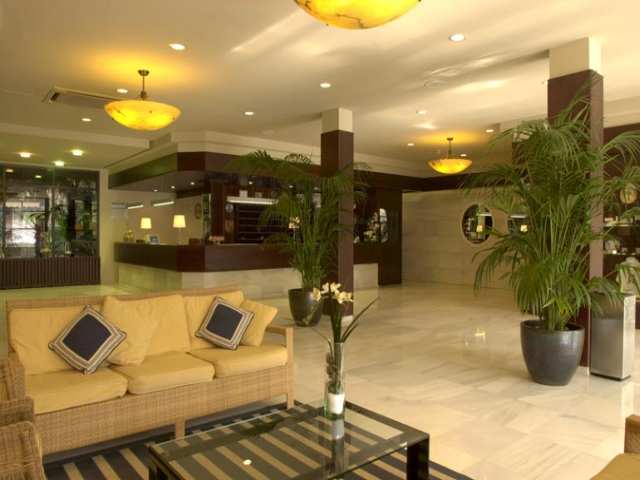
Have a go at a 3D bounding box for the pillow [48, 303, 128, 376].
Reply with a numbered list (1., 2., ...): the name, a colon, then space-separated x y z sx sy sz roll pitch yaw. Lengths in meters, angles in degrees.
1. pillow: -1.924 0.828 3.649 0.462 0.479 0.126 -47 -7 -35

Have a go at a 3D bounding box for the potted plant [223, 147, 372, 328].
1. potted plant: -0.381 -0.061 8.860 2.656 3.126 3.034 0 0 -4

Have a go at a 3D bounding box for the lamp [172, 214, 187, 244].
1. lamp: -3.679 -0.289 11.691 0.284 0.748 1.368 -1 3 -20

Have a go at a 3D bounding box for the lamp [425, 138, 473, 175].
1. lamp: 3.163 -1.915 10.905 0.910 0.861 0.907 1 3 -7

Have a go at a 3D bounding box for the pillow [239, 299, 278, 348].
1. pillow: -0.553 0.890 4.534 0.416 0.418 0.142 13 -19 37

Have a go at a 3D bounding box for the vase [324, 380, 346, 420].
1. vase: 0.089 1.105 3.110 0.150 0.240 0.163 -4 -16 18

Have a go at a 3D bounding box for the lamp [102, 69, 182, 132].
1. lamp: -2.346 -1.880 5.927 0.940 0.694 0.938 6 8 10

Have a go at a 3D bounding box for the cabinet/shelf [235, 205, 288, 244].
1. cabinet/shelf: -1.249 -0.304 9.113 0.823 0.686 0.262 2 -7 -26

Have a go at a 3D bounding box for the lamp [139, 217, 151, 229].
1. lamp: -5.078 -0.482 12.999 0.322 0.341 0.317 0 -4 -10
